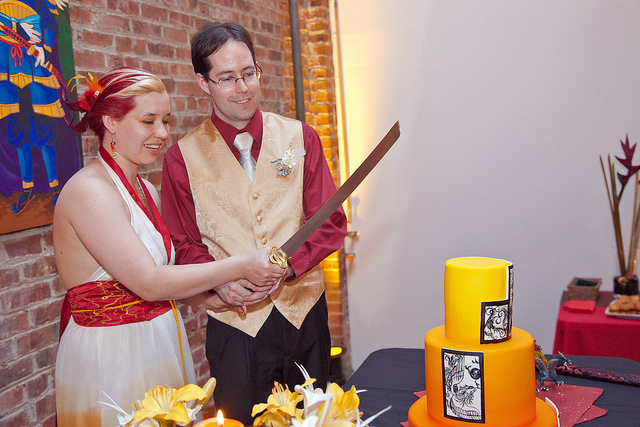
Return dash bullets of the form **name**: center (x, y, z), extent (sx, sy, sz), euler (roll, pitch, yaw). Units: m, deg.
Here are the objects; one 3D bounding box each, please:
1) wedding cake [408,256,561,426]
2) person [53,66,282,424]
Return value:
- **wedding cake**: center (0.557, 0.415, 1.826), extent (0.387, 0.602, 0.445), euler (-2, 2, 34)
- **person**: center (-0.684, 0.129, 2.072), extent (0.697, 1.371, 0.390), euler (-2, 9, -26)
